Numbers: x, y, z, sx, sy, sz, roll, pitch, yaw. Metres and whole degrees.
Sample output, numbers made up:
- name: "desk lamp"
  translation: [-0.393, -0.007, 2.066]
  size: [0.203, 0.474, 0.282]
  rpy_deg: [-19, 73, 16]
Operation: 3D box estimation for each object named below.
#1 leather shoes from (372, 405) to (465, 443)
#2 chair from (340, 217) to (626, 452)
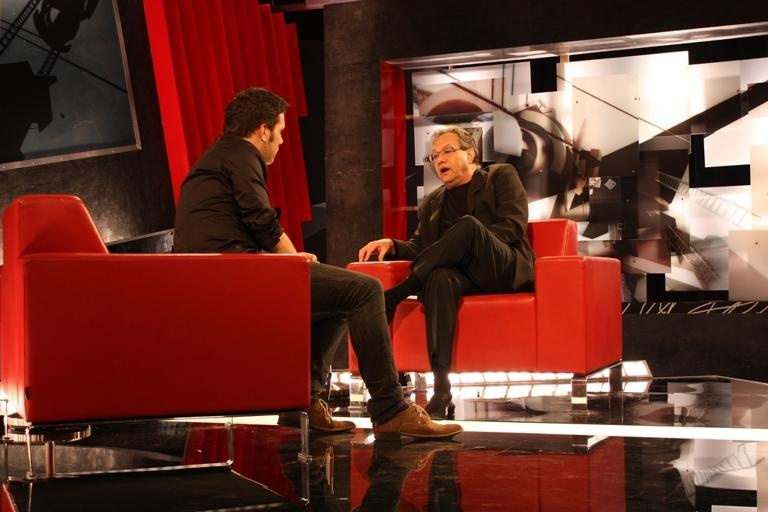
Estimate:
- name: "leather shoes"
  translation: [0.155, 0.777, 3.283]
  size: [0.455, 0.175, 0.157]
  rpy_deg: [-1, -9, -2]
- name: "chair"
  translation: [0.634, 0.379, 3.818]
  size: [1.367, 0.998, 0.950]
  rpy_deg: [-4, -9, 25]
